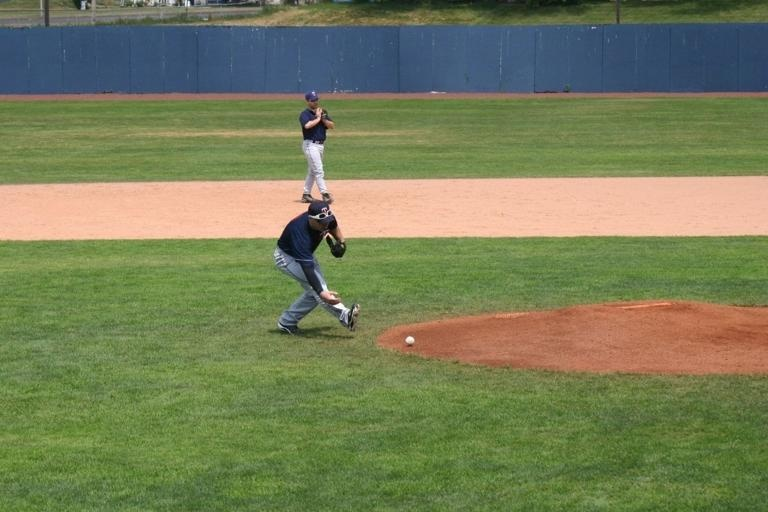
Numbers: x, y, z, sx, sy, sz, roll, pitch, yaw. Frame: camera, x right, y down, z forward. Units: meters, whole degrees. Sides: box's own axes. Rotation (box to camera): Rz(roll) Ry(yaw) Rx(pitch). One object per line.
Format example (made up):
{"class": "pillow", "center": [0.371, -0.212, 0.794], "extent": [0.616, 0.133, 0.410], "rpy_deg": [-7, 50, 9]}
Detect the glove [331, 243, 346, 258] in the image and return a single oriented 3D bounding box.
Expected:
{"class": "glove", "center": [-1.423, -0.238, 60.184], "extent": [0.409, 0.411, 0.220], "rpy_deg": [0, 23, 6]}

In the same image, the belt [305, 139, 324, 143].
{"class": "belt", "center": [-2.505, -4.026, 68.075], "extent": [0.596, 0.138, 0.251], "rpy_deg": [-5, 8, -19]}

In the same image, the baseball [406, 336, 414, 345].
{"class": "baseball", "center": [0.803, 2.536, 59.886], "extent": [0.321, 0.242, 0.295], "rpy_deg": [-4, 9, -10]}

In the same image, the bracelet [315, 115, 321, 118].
{"class": "bracelet", "center": [-2.333, -4.861, 67.716], "extent": [0.136, 0.110, 0.064], "rpy_deg": [-3, 9, -3]}
